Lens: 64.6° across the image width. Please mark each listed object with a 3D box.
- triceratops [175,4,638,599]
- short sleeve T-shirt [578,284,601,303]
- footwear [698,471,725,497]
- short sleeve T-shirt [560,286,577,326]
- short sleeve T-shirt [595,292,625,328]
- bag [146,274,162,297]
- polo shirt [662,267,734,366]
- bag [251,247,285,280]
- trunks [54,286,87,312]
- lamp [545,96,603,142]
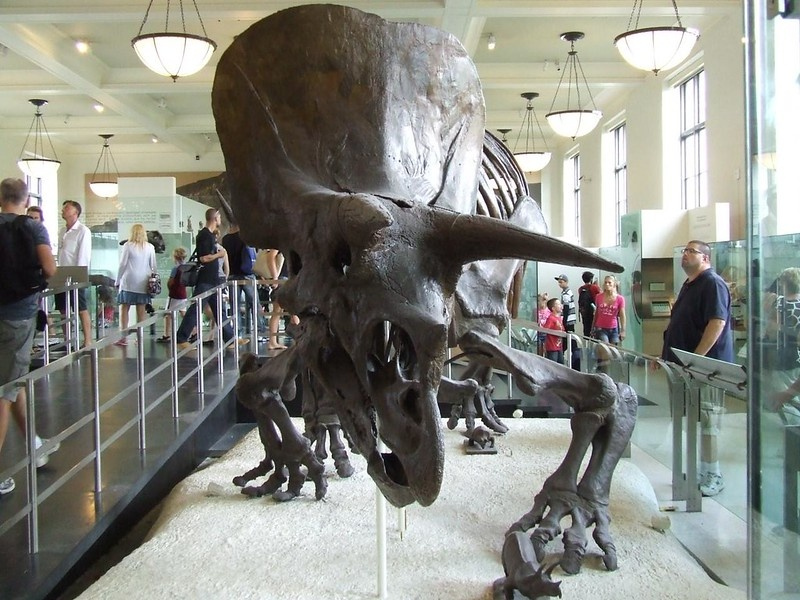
[{"bbox_3d":[0.140,-0.656,4.037,1.801,2.565,4.100,3,21,-3],"label":"triceratops"},{"bbox_3d":[3.170,-0.131,10.558,0.319,0.337,0.260,9,-6,-9],"label":"short sleeve T-shirt"},{"bbox_3d":[2.369,1.402,4.768,0.114,0.094,0.215,-14,8,14],"label":"footwear"},{"bbox_3d":[2.919,0.120,10.958,0.312,0.776,0.646,-3,8,11],"label":"short sleeve T-shirt"},{"bbox_3d":[2.979,0.152,8.938,0.467,0.483,0.252,2,1,15],"label":"short sleeve T-shirt"},{"bbox_3d":[-3.464,-0.196,9.012,0.169,0.287,0.284,5,-7,-24],"label":"bag"},{"bbox_3d":[2.663,0.116,5.619,0.532,0.840,0.919,1,7,0],"label":"polo shirt"},{"bbox_3d":[-1.601,-0.441,7.593,0.310,0.357,0.152,8,18,10],"label":"bag"},{"bbox_3d":[-4.194,-0.022,8.065,0.297,0.232,0.171,1,-3,-4],"label":"trunks"},{"bbox_3d":[3.344,-3.205,11.766,1.258,0.660,1.304,1,2,27],"label":"lamp"}]
